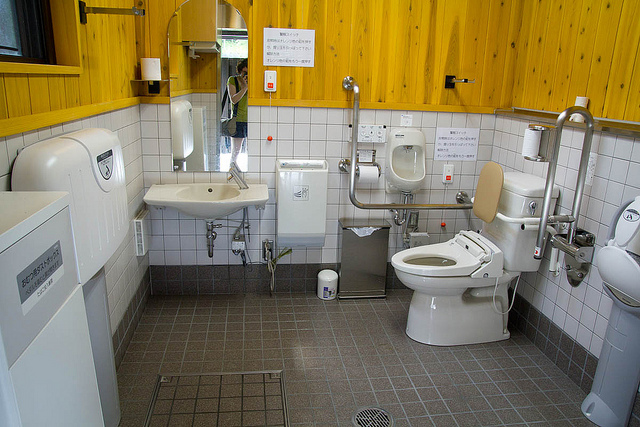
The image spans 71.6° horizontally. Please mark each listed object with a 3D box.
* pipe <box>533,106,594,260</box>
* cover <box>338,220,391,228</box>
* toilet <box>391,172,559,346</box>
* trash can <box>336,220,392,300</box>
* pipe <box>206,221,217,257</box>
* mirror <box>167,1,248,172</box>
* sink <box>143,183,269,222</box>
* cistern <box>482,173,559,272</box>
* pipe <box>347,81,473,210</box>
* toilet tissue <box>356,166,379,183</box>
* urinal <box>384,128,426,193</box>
[{"bbox_3d":[1.644,-0.202,3.095,0.254,1.025,0.319,1,19,-5],"label":"pipe"},{"bbox_3d":[0.418,0.094,4.069,0.483,0.047,0.159,-2,19,-6],"label":"cover"},{"bbox_3d":[1.186,0.371,3.674,1.152,1.255,0.655,-2,12,-4],"label":"toilet"},{"bbox_3d":[0.415,0.407,4.213,0.499,0.741,0.287,1,14,1],"label":"trash can"},{"bbox_3d":[-0.965,0.223,3.930,0.089,0.394,0.168,-4,20,-12],"label":"pipe"},{"bbox_3d":[-0.944,-1.040,3.726,0.677,1.366,0.206,1,19,1],"label":"mirror"},{"bbox_3d":[-0.936,-0.060,3.716,0.979,0.310,0.503,-2,19,-6],"label":"sink"},{"bbox_3d":[1.730,0.028,3.488,0.448,0.806,0.741,4,25,5],"label":"cistern"},{"bbox_3d":[0.769,-0.575,3.880,1.239,1.189,0.224,0,15,-6],"label":"pipe"},{"bbox_3d":[0.420,-0.346,3.963,0.168,0.138,0.146,-3,1,-3],"label":"toilet tissue"},{"bbox_3d":[0.780,-0.438,3.899,0.357,0.588,0.325,-3,14,-11],"label":"urinal"}]
